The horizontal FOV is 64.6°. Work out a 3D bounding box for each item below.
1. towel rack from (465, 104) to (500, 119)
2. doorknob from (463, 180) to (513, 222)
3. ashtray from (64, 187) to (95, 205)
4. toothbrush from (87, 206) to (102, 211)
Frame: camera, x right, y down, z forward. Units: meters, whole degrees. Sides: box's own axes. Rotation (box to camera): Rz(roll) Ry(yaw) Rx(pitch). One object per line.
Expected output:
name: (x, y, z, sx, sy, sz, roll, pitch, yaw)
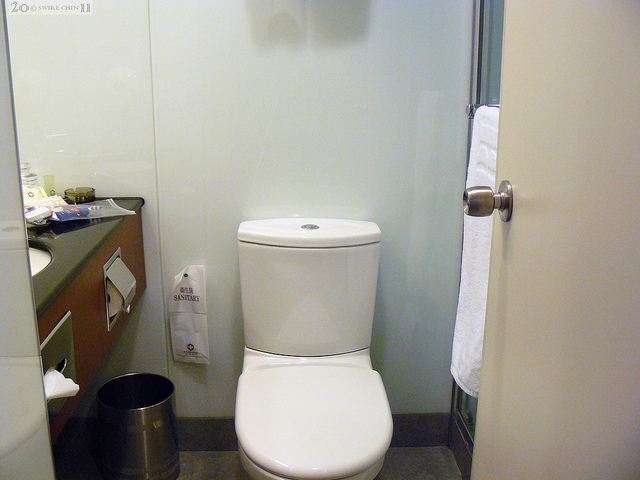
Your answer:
towel rack: (0.505, -0.399, 1.571, 0.117, 0.037, 0.032, -6, 12, -22)
doorknob: (0.289, -0.064, 0.872, 0.077, 0.080, 0.061, 0, 1, 4)
ashtray: (-0.758, -0.139, 1.598, 0.077, 0.041, 0.070, 12, 20, 30)
toothbrush: (-0.672, -0.094, 1.516, 0.037, 0.006, 0.053, -4, 18, -17)
